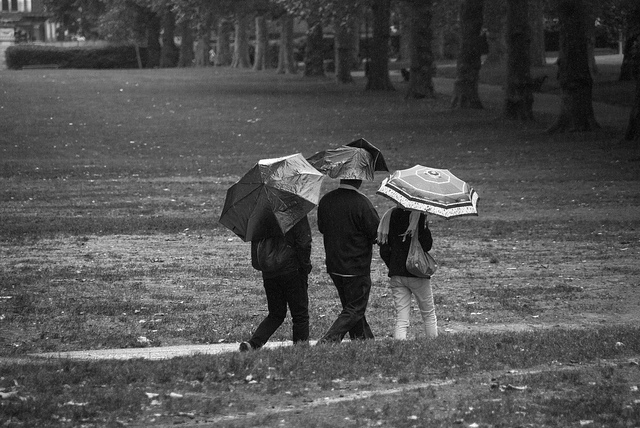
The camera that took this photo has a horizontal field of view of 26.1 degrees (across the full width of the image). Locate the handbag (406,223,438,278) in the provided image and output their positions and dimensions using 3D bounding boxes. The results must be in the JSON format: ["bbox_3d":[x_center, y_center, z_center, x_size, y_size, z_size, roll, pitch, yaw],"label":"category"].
[{"bbox_3d":[3.056,1.001,41.035,1.014,1.836,0.964,3,2,-14],"label":"handbag"}]

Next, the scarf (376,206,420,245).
[{"bbox_3d":[2.312,0.422,40.942,1.296,1.226,0.728,6,-8,2],"label":"scarf"}]

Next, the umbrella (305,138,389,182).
[{"bbox_3d":[1.068,-1.621,40.813,2.282,0.794,1.978,-1,-18,28],"label":"umbrella"}]

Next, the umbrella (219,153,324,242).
[{"bbox_3d":[-1.410,-0.414,40.898,2.760,2.362,0.916,-1,8,-5],"label":"umbrella"}]
